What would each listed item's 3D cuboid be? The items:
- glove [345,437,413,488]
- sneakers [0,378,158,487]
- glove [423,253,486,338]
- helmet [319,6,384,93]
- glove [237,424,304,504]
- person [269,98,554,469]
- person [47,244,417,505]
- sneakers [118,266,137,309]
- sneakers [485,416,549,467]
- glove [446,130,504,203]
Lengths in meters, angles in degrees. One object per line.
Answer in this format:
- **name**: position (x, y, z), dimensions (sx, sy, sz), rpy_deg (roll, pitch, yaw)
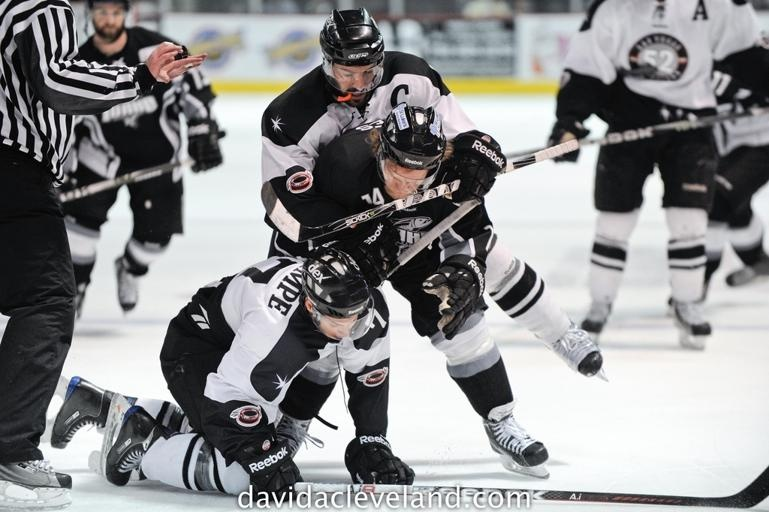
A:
- **glove**: position (-0.037, 0.826, 3.739), dimensions (0.180, 0.109, 0.234), rpy_deg (5, 19, -45)
- **sneakers**: position (-1.229, 0.705, 3.744), dimensions (0.270, 0.582, 0.288), rpy_deg (-34, -15, -10)
- **glove**: position (0.281, 0.150, 3.784), dimensions (0.188, 0.284, 0.323), rpy_deg (10, 22, 25)
- **helmet**: position (-0.152, -0.894, 3.972), dimensions (0.282, 0.293, 0.332), rpy_deg (-9, 50, -6)
- **glove**: position (-0.430, 0.800, 3.586), dimensions (0.182, 0.277, 0.135), rpy_deg (11, -15, -33)
- **person**: position (0.082, 0.172, 4.019), dimensions (0.887, 1.304, 1.369), rpy_deg (-28, 58, -5)
- **person**: position (-0.561, 0.480, 4.057), dimensions (1.515, 0.954, 0.826), rpy_deg (-2, -1, 7)
- **sneakers**: position (-1.636, 0.202, 6.044), dimensions (0.110, 0.286, 0.212), rpy_deg (-5, 14, -13)
- **sneakers**: position (0.535, 0.765, 3.974), dimensions (0.117, 0.141, 0.342), rpy_deg (-36, 20, -20)
- **glove**: position (0.389, -0.380, 3.891), dimensions (0.237, 0.271, 0.238), rpy_deg (2, 20, 5)
